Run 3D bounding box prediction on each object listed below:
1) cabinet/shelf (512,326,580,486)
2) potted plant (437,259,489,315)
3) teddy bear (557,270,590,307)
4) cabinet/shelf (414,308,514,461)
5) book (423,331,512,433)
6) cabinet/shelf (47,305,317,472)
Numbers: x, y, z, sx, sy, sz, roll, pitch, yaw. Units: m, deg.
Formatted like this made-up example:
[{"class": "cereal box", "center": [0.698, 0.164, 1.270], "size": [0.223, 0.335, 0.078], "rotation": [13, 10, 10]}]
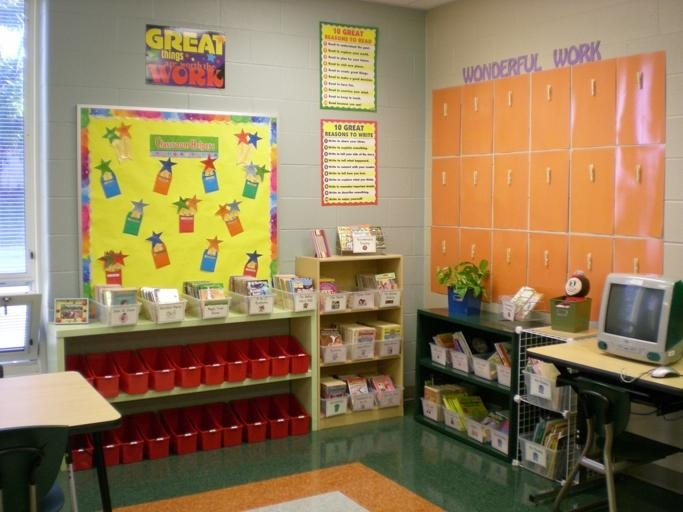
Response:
[{"class": "cabinet/shelf", "center": [1.356, 0.989, 3.831], "size": [0.279, 0.728, 0.380], "rotation": [22, -15, 7]}, {"class": "potted plant", "center": [0.990, 0.259, 4.590], "size": [0.435, 0.459, 0.429], "rotation": [4, -4, -41]}, {"class": "teddy bear", "center": [1.641, 0.212, 3.704], "size": [0.181, 0.194, 0.228], "rotation": [2, 5, 25]}, {"class": "cabinet/shelf", "center": [1.017, 1.070, 4.320], "size": [0.341, 0.946, 0.976], "rotation": [-2, 7, -33]}, {"class": "book", "center": [1.056, 1.056, 4.367], "size": [0.462, 0.851, 0.866], "rotation": [1, 2, -29]}, {"class": "cabinet/shelf", "center": [-1.129, 1.041, 4.233], "size": [1.934, 1.041, 0.522], "rotation": [3, -7, -39]}]
